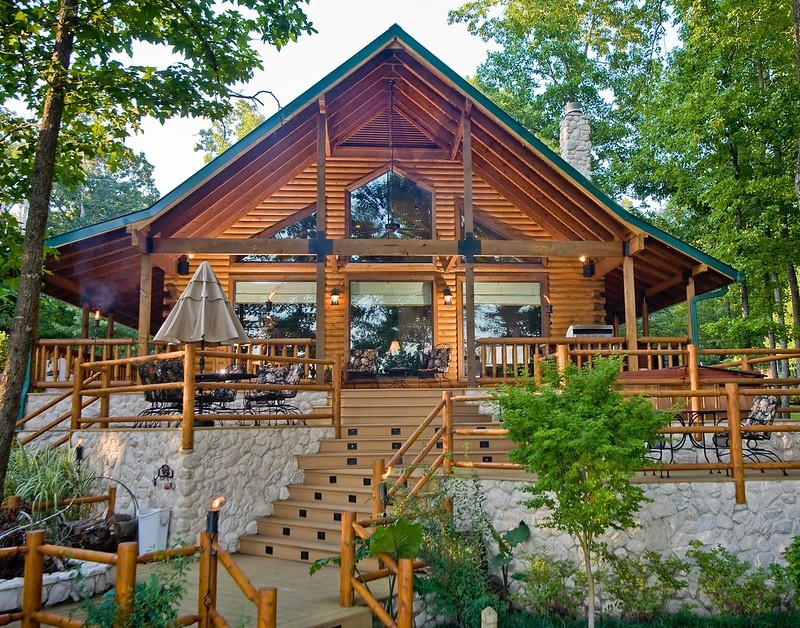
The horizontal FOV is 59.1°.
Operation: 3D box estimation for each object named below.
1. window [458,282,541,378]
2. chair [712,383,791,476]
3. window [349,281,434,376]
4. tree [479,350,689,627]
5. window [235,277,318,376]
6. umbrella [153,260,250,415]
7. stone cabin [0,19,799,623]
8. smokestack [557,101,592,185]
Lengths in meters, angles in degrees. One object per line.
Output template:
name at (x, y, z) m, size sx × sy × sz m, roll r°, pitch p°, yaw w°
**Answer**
window at (2.371, 0.464, 17.269) m, size 2.346 × 2.916 × 0.132 m, roll 1°, pitch -7°, yaw -7°
chair at (5.837, 1.949, 11.840) m, size 0.972 × 1.261 × 0.882 m, roll 2°, pitch -4°, yaw -3°
window at (-0.286, 0.475, 18.096) m, size 2.304 × 2.770 × 0.102 m, roll 2°, pitch -11°, yaw -7°
tree at (2.416, 2.394, 9.367) m, size 1.999 × 3.610 × 1.304 m, roll -1°, pitch -10°, yaw 9°
window at (-2.935, 0.340, 16.512) m, size 2.313 × 2.585 × 0.122 m, roll 0°, pitch -6°, yaw -4°
umbrella at (-3.312, 0.201, 12.065) m, size 1.804 × 2.467 × 1.898 m, roll -1°, pitch 0°, yaw 7°
stone cabin at (0.284, -0.025, 13.477) m, size 12.646 × 6.419 × 7.486 m, roll 0°, pitch -8°, yaw -4°
smokestack at (5.069, -4.906, 20.271) m, size 0.540 × 2.143 × 0.671 m, roll -3°, pitch -3°, yaw -5°
